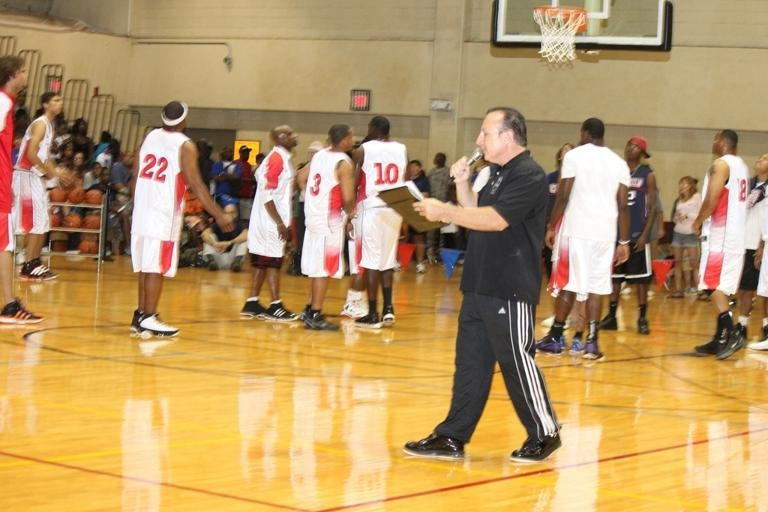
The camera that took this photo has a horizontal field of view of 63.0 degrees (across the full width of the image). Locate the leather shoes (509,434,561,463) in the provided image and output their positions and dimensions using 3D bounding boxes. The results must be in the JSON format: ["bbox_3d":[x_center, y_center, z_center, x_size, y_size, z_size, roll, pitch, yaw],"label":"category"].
[{"bbox_3d":[0.906,1.128,3.760,0.329,0.136,0.128,-7,1,-29],"label":"leather shoes"}]

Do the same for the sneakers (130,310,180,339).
[{"bbox_3d":[-2.251,0.691,6.318,0.564,0.275,0.203,5,2,2],"label":"sneakers"}]

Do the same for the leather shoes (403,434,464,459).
[{"bbox_3d":[0.300,1.155,3.847,0.353,0.160,0.140,7,-21,4],"label":"leather shoes"}]

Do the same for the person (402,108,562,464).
[{"bbox_3d":[0.619,0.163,3.751,0.886,2.107,0.407,1,3,-17],"label":"person"}]

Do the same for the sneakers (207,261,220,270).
[{"bbox_3d":[-3.038,0.172,11.157,0.145,0.145,0.143,-1,-1,-30],"label":"sneakers"}]
